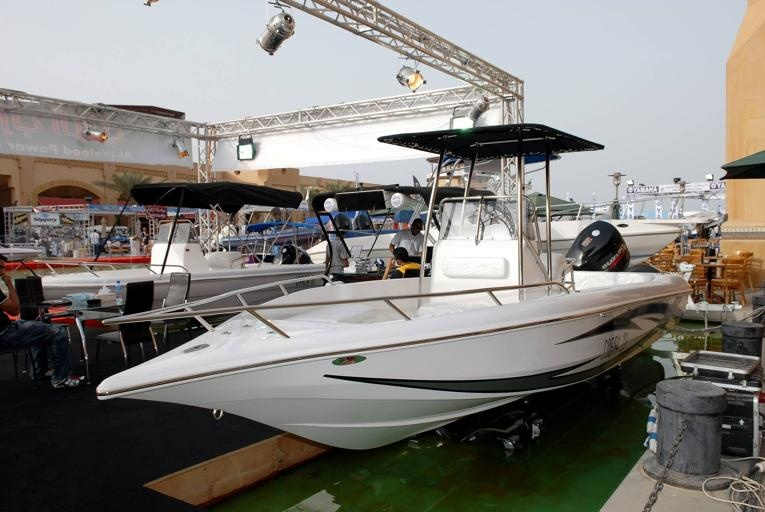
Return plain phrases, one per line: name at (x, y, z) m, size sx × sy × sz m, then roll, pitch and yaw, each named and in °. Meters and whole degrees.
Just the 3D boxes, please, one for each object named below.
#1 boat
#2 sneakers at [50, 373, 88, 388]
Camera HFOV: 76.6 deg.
boat at (0.839, 0.176, 5.324) m, size 6.809 × 2.225 × 2.567 m, roll -9°, pitch 11°, yaw -36°
sneakers at (-3.373, 1.357, 5.293) m, size 0.419 × 0.132 × 0.134 m, roll -2°, pitch 7°, yaw -18°
